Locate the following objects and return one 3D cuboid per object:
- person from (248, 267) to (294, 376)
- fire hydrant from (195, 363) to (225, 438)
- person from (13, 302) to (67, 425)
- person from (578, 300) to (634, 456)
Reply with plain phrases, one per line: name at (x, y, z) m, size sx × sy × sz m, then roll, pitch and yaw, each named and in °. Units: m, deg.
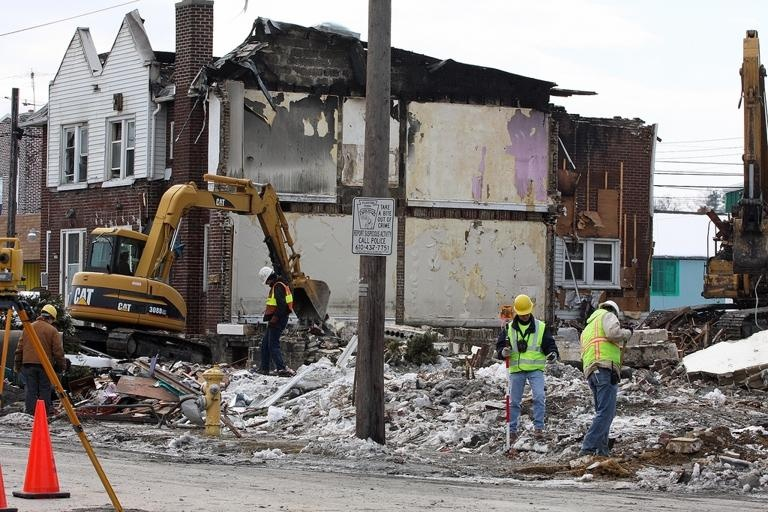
person at (-2.801, 1.614, 35.516) m, size 0.940 × 2.700 × 1.095 m, roll 1°, pitch -1°, yaw 8°
fire hydrant at (-3.764, 3.110, 30.278) m, size 0.709 × 1.471 × 0.685 m, roll 0°, pitch -1°, yaw -14°
person at (-7.724, 2.314, 31.265) m, size 1.083 × 2.567 × 0.797 m, roll 2°, pitch -5°, yaw 1°
person at (4.532, 2.489, 28.672) m, size 1.192 × 2.938 × 0.927 m, roll 2°, pitch 0°, yaw -12°
